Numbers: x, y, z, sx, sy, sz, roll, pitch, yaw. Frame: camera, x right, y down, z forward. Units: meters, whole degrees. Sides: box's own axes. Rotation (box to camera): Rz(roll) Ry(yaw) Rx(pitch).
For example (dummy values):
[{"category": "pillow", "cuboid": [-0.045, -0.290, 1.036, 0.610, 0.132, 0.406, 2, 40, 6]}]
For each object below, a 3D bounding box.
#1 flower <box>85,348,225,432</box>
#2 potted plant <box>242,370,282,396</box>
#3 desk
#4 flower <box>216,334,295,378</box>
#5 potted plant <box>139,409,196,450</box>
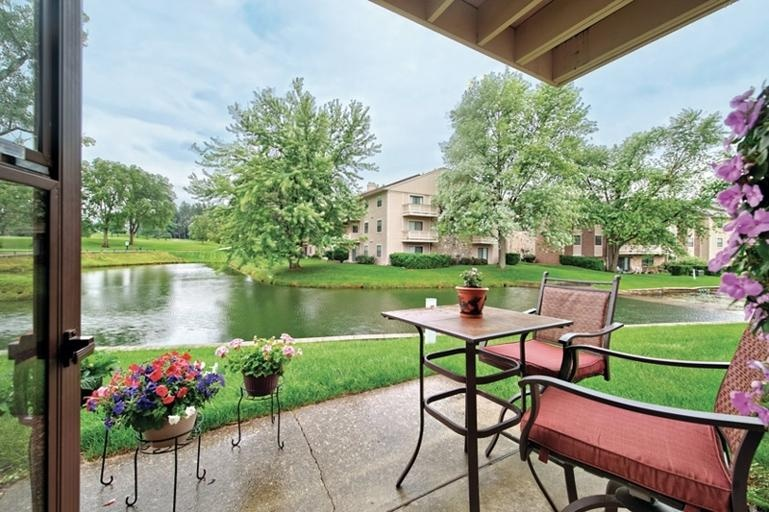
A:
[{"category": "flower", "cuboid": [-2.072, 1.250, 4.282, 0.852, 0.510, 0.878, -4, 5, -18]}, {"category": "potted plant", "cuboid": [-1.325, 1.333, 5.020, 0.282, 0.183, 0.283, -2, -2, 9]}, {"category": "desk", "cuboid": [0.879, 1.372, 5.200, 1.769, 2.090, 1.749, -1, 1, -35]}, {"category": "flower", "cuboid": [-1.412, 1.084, 5.154, 0.800, 0.385, 0.799, 0, -3, -4]}, {"category": "potted plant", "cuboid": [-1.987, 1.624, 4.363, 0.426, 0.272, 0.427, -1, -4, -2]}]
